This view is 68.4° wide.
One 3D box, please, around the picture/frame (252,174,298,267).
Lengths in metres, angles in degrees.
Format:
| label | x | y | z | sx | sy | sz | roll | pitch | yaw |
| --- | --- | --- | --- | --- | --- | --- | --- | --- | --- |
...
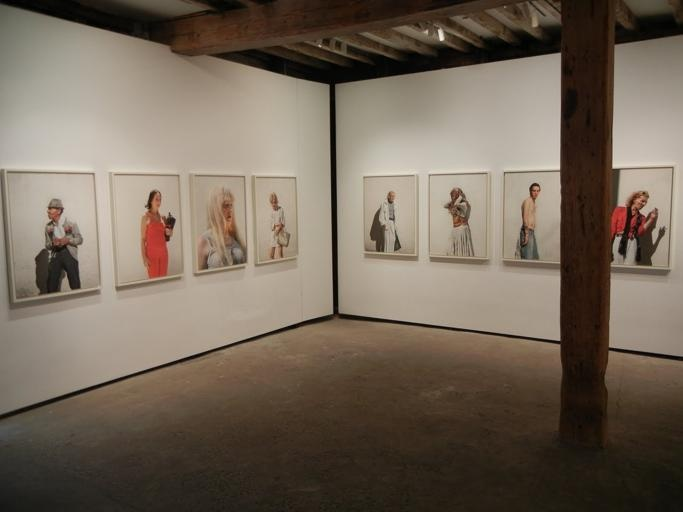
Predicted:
| label | x | y | z | sx | sy | sz | roll | pitch | yaw |
| --- | --- | --- | --- | --- | --- | --- | --- | --- | --- |
| picture/frame | -1.239 | -0.659 | 9.260 | 0.158 | 2.010 | 1.286 | 5 | 10 | 34 |

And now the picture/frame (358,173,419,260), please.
| label | x | y | z | sx | sy | sz | roll | pitch | yaw |
| --- | --- | --- | --- | --- | --- | --- | --- | --- | --- |
| picture/frame | 0.972 | -0.780 | 9.783 | 1.291 | 2.228 | 0.176 | 4 | 7 | 39 |
